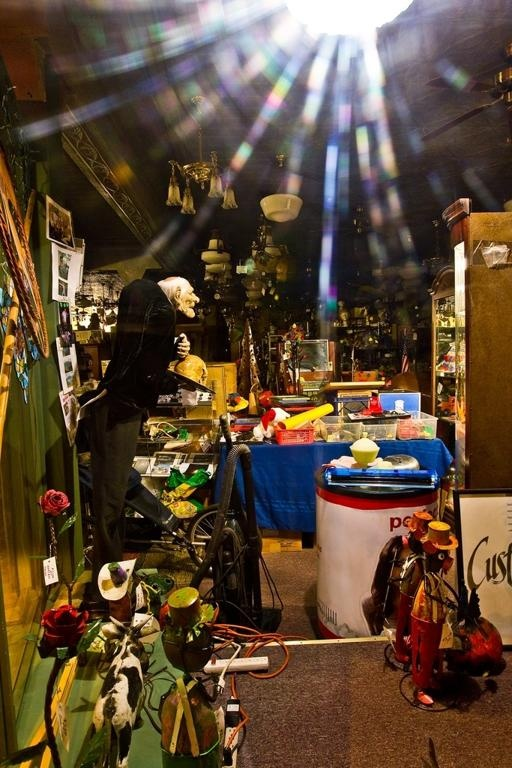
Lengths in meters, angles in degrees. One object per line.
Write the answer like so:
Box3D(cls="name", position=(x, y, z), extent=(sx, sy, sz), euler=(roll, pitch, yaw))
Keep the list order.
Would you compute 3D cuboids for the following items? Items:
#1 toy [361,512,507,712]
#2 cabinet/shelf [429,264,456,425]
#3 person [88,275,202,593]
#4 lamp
Box3D(cls="toy", position=(0.752, 0.790, 2.114), extent=(0.519, 0.742, 0.575), euler=(-3, 10, -6))
Box3D(cls="cabinet/shelf", position=(2.285, -0.619, 6.528), extent=(0.280, 1.312, 0.213), euler=(-6, -20, 36))
Box3D(cls="person", position=(-0.586, 0.175, 2.761), extent=(0.427, 1.394, 0.873), euler=(2, 11, 22))
Box3D(cls="lamp", position=(-0.284, -2.156, 7.464), extent=(1.466, 2.521, 1.517), euler=(-3, -2, 34))
